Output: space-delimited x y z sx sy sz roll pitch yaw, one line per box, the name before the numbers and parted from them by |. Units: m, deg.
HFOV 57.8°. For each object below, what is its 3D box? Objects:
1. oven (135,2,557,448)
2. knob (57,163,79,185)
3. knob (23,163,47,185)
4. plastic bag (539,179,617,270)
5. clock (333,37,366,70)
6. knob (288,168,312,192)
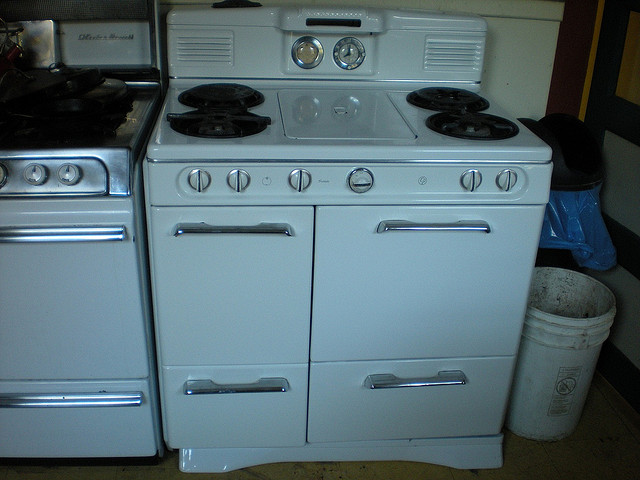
oven | 0.102 -0.119 2.242 1.417 1.406 1.091 -2 29 -3
knob | -0.741 -0.196 1.695 0.054 0.054 0.016 -3 9 0
knob | -0.838 -0.190 1.685 0.057 0.057 0.018 -5 10 -5
plastic bag | 1.077 -0.050 2.515 0.292 0.479 0.284 -1 26 -2
clock | 0.112 -0.712 2.222 0.112 0.112 0.033 1 16 -11
knob | -0.062 -0.180 1.748 0.060 0.065 0.015 -1 10 -2
